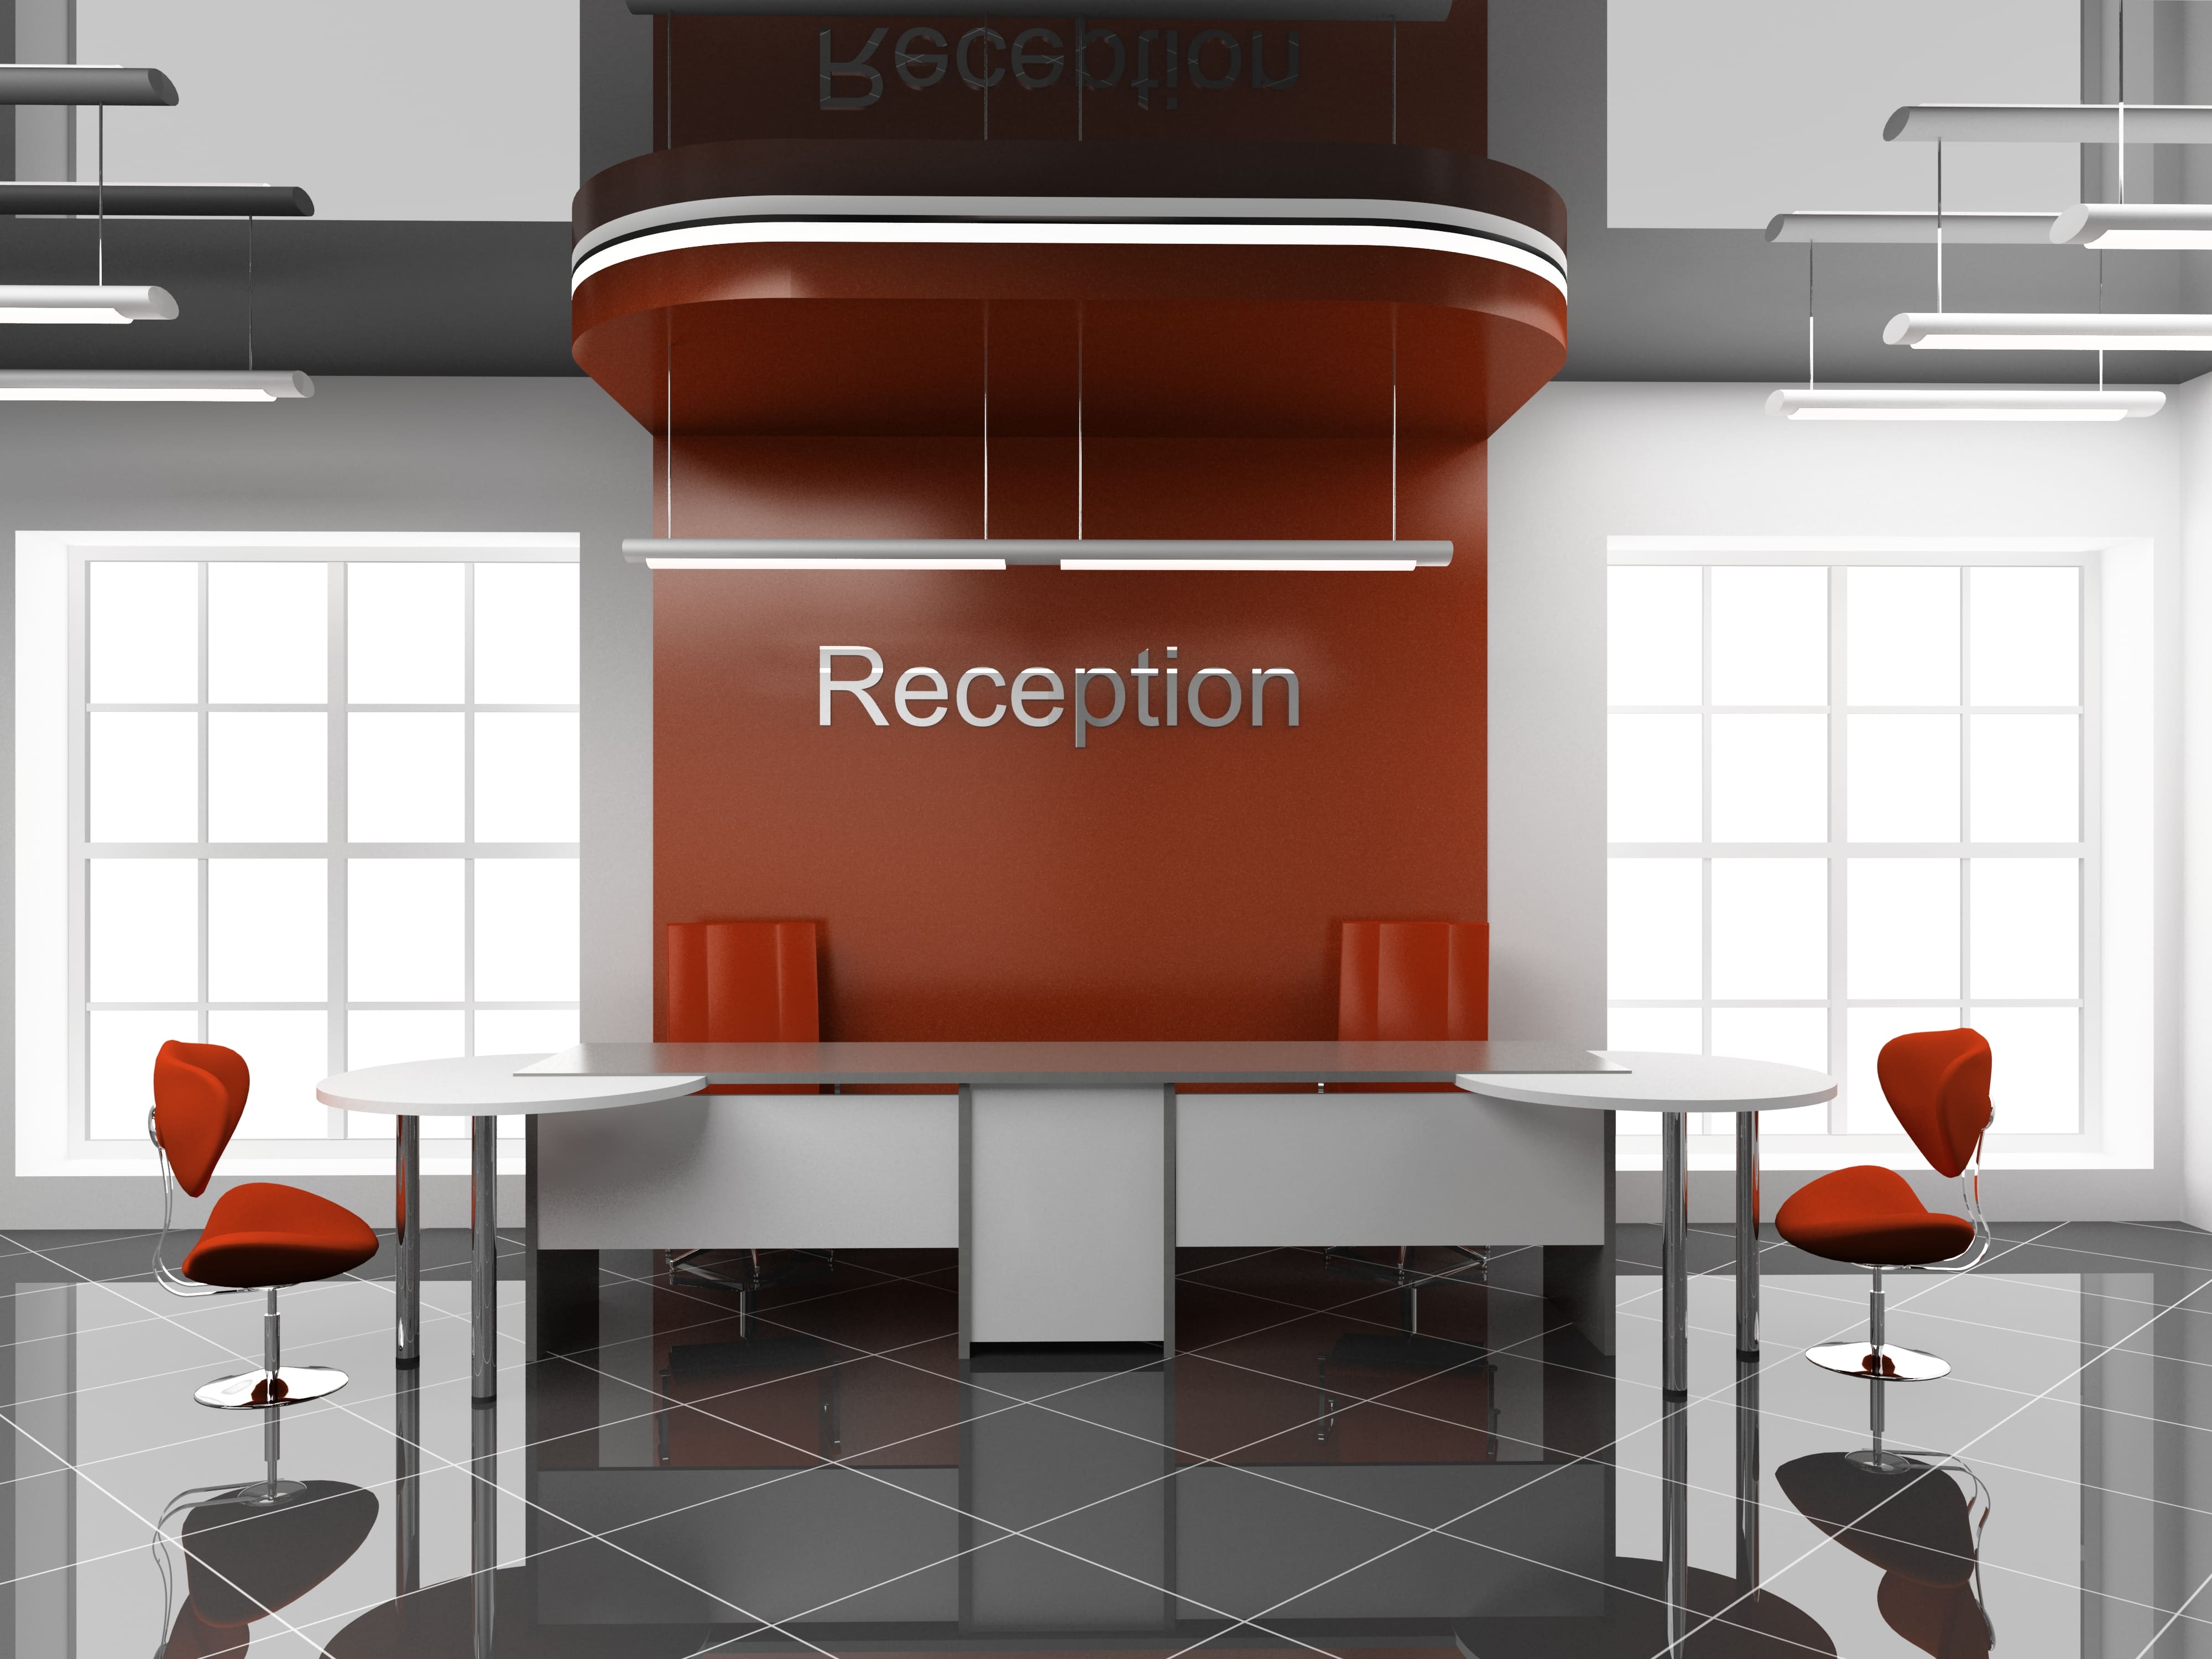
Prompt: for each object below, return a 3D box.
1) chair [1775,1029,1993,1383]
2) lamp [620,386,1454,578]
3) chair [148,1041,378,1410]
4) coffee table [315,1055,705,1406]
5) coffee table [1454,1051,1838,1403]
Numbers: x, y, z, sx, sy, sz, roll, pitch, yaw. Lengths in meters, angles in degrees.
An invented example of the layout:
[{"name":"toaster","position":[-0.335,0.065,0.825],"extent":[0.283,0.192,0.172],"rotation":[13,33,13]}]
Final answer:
[{"name":"chair","position":[2.888,1.441,9.093],"extent":[0.899,1.234,0.970],"rotation":[-4,0,-14]},{"name":"lamp","position":[-0.206,-1.283,9.934],"extent":[3.527,0.662,1.574],"rotation":[-1,14,-3]},{"name":"chair","position":[-3.116,1.417,8.954],"extent":[0.688,1.205,1.007],"rotation":[-6,16,-22]},{"name":"coffee table","position":[-2.287,1.420,8.900],"extent":[1.338,0.861,1.314],"rotation":[2,2,33]},{"name":"coffee table","position":[2.067,1.447,8.990],"extent":[1.351,0.882,1.306],"rotation":[0,-5,3]}]
